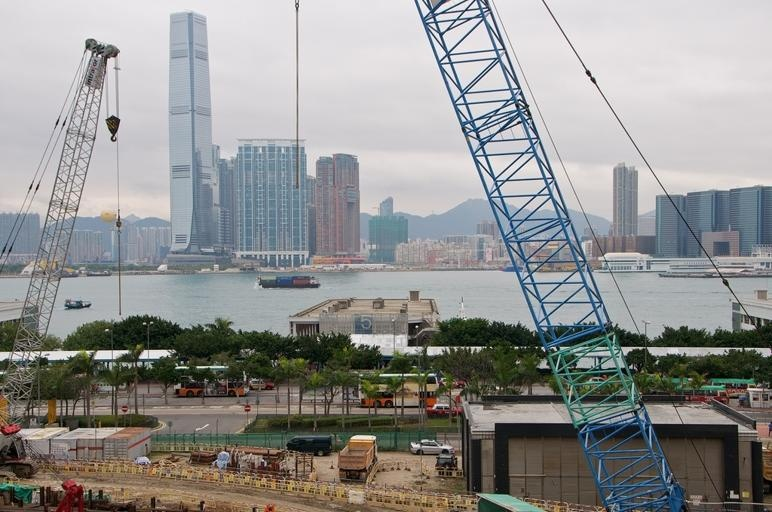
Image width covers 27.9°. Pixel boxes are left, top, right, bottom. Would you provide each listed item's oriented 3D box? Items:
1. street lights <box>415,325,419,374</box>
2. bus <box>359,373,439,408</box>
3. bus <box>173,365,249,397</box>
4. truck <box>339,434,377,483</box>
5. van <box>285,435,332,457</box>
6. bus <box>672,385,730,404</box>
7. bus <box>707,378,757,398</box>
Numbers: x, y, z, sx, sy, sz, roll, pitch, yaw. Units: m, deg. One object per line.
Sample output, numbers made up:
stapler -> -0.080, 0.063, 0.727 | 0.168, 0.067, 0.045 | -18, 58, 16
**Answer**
street lights -> 4.903, 18.096, 257.684 | 0.979, 1.918, 0.901 | -3, -3, 28
bus -> 2.032, 21.949, 247.935 | 15.795, 5.419, 4.889 | -1, 5, -2
bus -> -28.790, 20.733, 256.000 | 12.412, 4.584, 3.239 | 0, 19, 8
truck -> -4.041, 30.633, 234.942 | 5.063, 4.673, 10.043 | 2, 8, 11
van -> -11.369, 29.006, 236.590 | 6.530, 3.010, 1.490 | -1, -7, -6
bus -> 51.294, 23.031, 248.552 | 9.981, 3.218, 3.430 | -2, 4, 1
bus -> 56.109, 21.775, 251.639 | 8.638, 2.868, 3.168 | -3, 5, -4
